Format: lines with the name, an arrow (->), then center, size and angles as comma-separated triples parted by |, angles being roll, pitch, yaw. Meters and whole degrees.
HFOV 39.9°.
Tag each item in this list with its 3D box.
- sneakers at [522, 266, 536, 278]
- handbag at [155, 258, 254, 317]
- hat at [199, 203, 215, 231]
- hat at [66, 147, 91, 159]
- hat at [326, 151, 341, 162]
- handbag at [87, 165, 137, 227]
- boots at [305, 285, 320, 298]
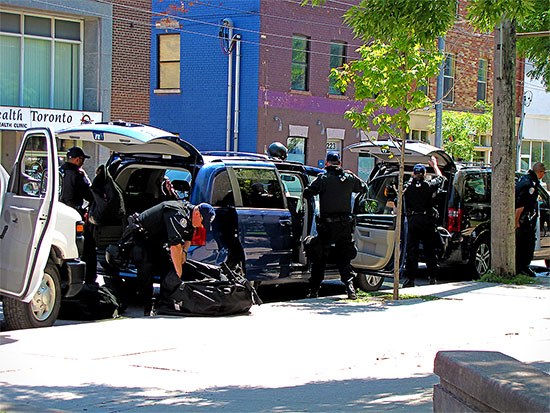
sneakers -> 4.923, 1.262, 14.661 | 0.084, 0.231, 0.291 | -39, -34, 29
handbag -> -0.914, 1.056, 10.224 | 0.968, 0.459, 0.753 | 0, 1, -4
hat -> -0.927, 0.142, 10.082 | 0.209, 0.395, 0.567 | 1, 5, -5
hat -> -3.060, -0.826, 11.709 | 0.340, 0.172, 0.215 | -2, 5, -27
hat -> 0.911, -0.779, 11.899 | 0.182, 0.110, 0.281 | 1, 6, -1
handbag -> -2.487, -0.131, 11.357 | 0.476, 0.914, 0.666 | -17, -14, 2
boots -> 0.583, 1.322, 11.872 | 0.173, 0.247, 0.252 | 1, -2, -1
